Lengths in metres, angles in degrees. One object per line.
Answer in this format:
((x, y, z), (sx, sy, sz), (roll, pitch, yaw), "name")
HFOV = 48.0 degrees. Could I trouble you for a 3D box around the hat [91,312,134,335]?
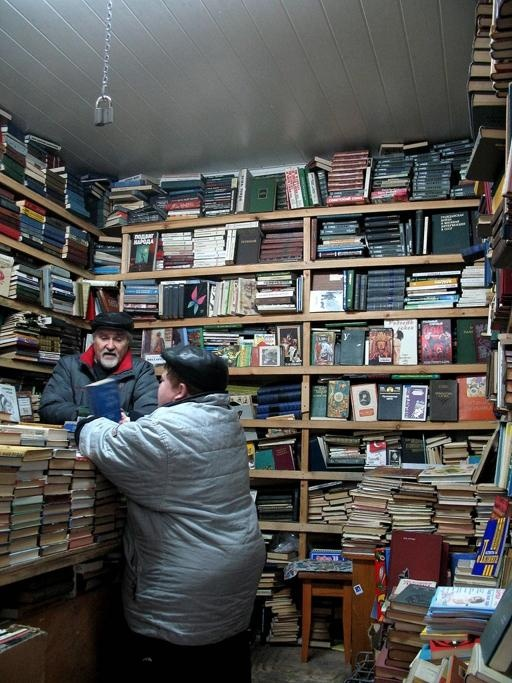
((-0.809, -0.109, 3.239), (0.219, 0.116, 0.172), (4, -4, -15), "hat")
